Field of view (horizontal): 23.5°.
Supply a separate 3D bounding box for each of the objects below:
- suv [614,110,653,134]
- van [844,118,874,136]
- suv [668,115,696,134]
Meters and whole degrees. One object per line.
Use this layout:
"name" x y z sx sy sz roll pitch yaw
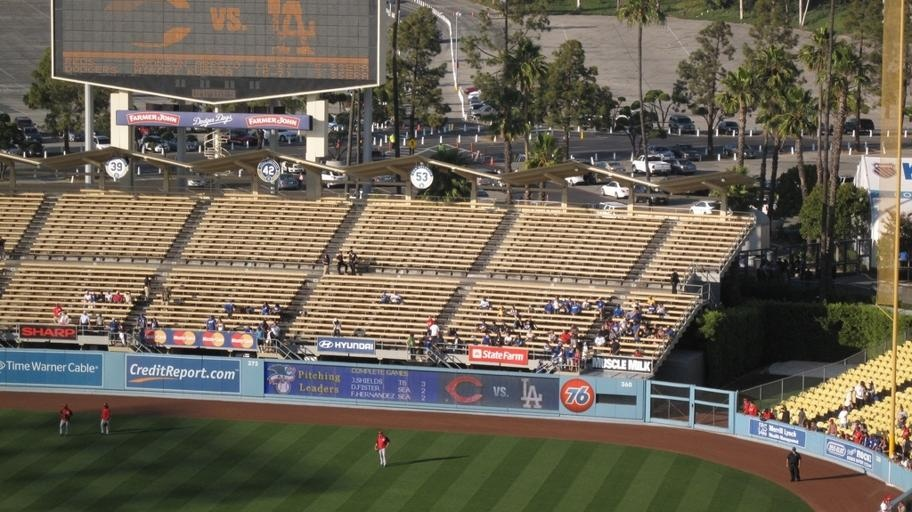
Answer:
"suv" 19.027 -14.756 237.722 2.979 2.109 3.562 0 6 6
"van" 44.994 -14.160 244.077 3.026 1.832 4.631 0 10 5
"suv" 25.978 -15.165 250.245 2.715 1.927 2.161 -3 13 -20
